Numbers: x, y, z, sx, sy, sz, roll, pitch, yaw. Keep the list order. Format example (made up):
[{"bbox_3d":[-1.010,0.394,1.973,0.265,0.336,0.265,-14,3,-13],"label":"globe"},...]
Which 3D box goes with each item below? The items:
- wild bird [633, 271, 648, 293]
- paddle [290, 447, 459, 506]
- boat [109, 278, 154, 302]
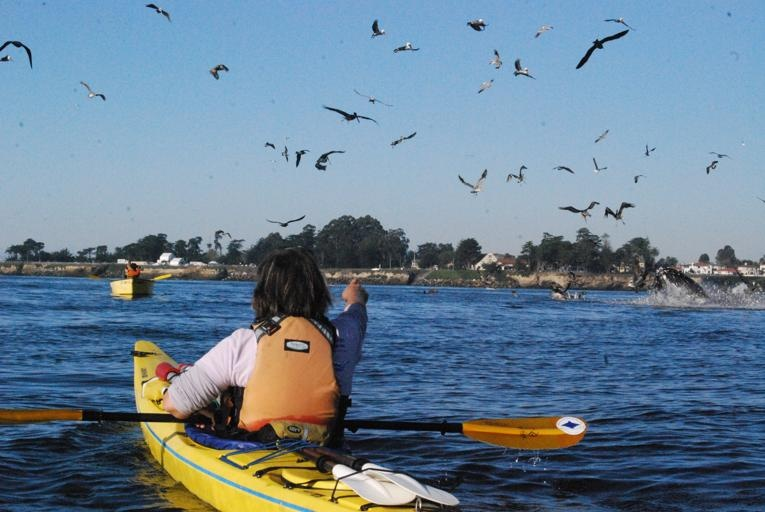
[{"bbox_3d":[14.953,1.386,70.672,0.932,0.880,1.363,29,5,4],"label":"wild bird"},{"bbox_3d":[-0.116,4.226,22.762,2.980,0.263,1.019,19,25,25],"label":"paddle"},{"bbox_3d":[-13.041,1.621,63.097,2.041,1.231,2.886,1,-6,-12],"label":"boat"}]
